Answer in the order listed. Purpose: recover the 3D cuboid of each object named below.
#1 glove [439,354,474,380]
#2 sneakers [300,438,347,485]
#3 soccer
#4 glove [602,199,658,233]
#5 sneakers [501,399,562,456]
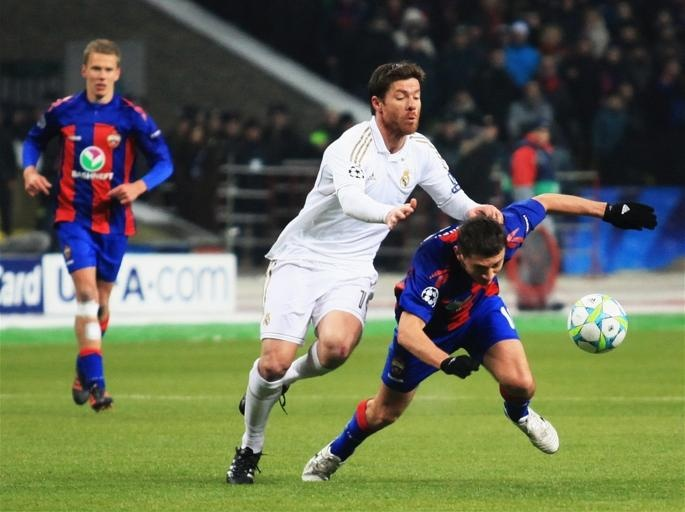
[{"bbox_3d":[0.886,0.823,9.660,0.221,0.176,0.079,7,16,5],"label":"glove"},{"bbox_3d":[-0.187,1.705,10.386,0.207,0.393,0.251,48,4,-18],"label":"sneakers"},{"bbox_3d":[2.152,0.570,10.737,0.485,0.490,0.487,0,1,1],"label":"soccer"},{"bbox_3d":[2.399,-0.350,10.660,0.389,0.237,0.106,3,-1,-9],"label":"glove"},{"bbox_3d":[1.605,1.398,10.520,0.672,0.246,0.285,43,10,-10],"label":"sneakers"}]
